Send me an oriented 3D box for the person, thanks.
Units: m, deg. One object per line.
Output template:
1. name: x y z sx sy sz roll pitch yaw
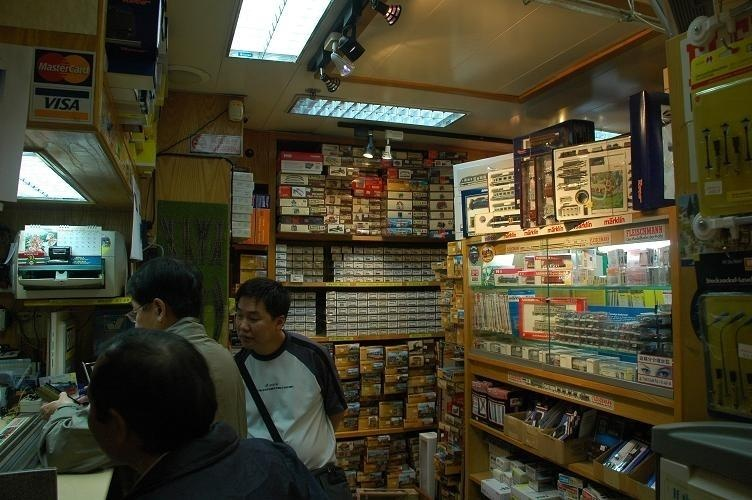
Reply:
1. person: -1.227 0.560 2.906 1.064 1.043 0.319 -2 -3 6

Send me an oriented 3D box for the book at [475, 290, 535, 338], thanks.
1. book: 0.970 0.470 4.237 0.134 0.350 0.414 1 0 -29

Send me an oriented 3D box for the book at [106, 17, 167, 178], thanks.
1. book: -1.309 -0.836 3.095 0.176 0.345 1.035 1 -24 -14
